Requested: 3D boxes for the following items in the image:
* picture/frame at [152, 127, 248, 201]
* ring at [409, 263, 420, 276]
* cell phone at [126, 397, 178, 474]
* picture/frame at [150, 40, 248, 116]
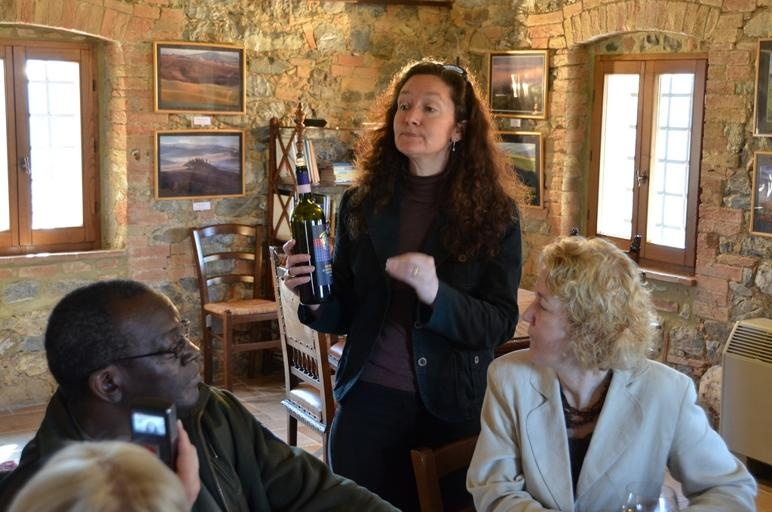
[{"bbox_3d":[-1.654,-0.804,4.983,0.709,0.488,0.029,-2,9,-18],"label":"picture/frame"},{"bbox_3d":[0.087,0.045,1.776,0.024,0.032,0.012,1,-9,19],"label":"ring"},{"bbox_3d":[-0.442,0.339,1.109,0.077,0.122,0.043,4,16,8],"label":"cell phone"},{"bbox_3d":[-1.626,-1.506,4.881,0.755,0.530,0.050,0,1,-24],"label":"picture/frame"}]
